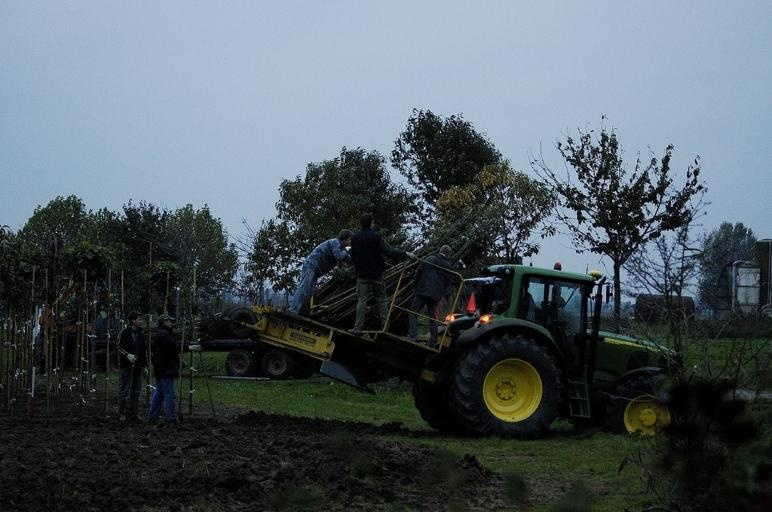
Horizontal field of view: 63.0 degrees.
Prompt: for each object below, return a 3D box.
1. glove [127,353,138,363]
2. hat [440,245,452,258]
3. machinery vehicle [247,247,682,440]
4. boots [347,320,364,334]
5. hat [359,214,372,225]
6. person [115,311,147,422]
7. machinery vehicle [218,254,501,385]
[{"bbox_3d":[-4.571,1.826,11.339,0.187,0.110,0.056,37,21,22],"label":"glove"},{"bbox_3d":[1.065,-0.087,11.141,0.153,0.200,0.203,18,18,8],"label":"hat"},{"bbox_3d":[1.322,1.759,11.467,7.035,3.251,3.161,4,-2,-7],"label":"machinery vehicle"},{"bbox_3d":[-0.482,1.193,10.431,0.240,0.243,0.376,3,-9,9],"label":"boots"},{"bbox_3d":[-0.337,-0.614,10.682,0.140,0.204,0.189,2,5,-1],"label":"hat"},{"bbox_3d":[-4.683,1.983,11.510,0.497,1.872,0.595,7,-9,-21],"label":"person"},{"bbox_3d":[-0.495,1.353,12.447,4.768,2.673,3.264,0,-4,-15],"label":"machinery vehicle"}]
